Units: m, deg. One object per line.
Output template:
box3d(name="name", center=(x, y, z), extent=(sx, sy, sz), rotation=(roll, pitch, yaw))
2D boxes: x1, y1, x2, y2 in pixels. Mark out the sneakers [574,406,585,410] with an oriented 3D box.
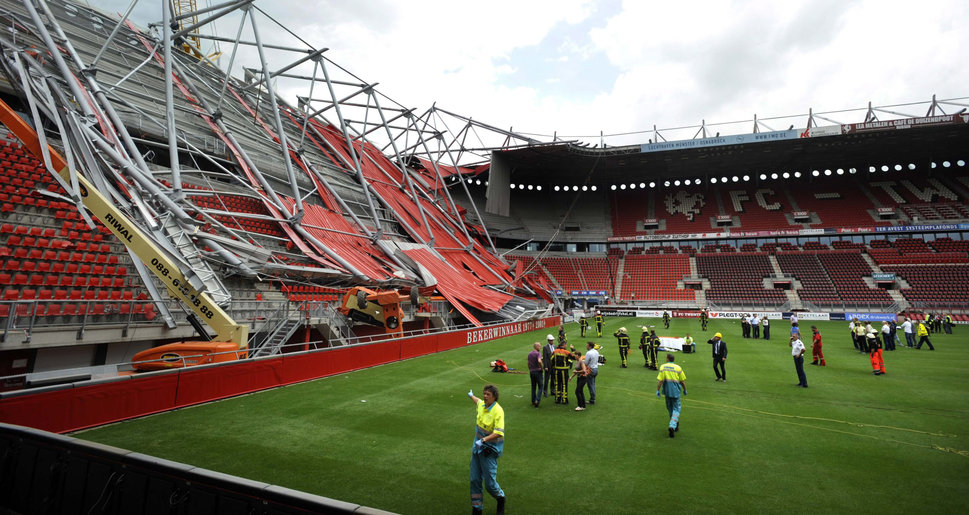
box3d(name="sneakers", center=(5.147, 8.212, 28.212), extent=(0.515, 0.163, 0.178), rotation=(-3, -9, 22))
